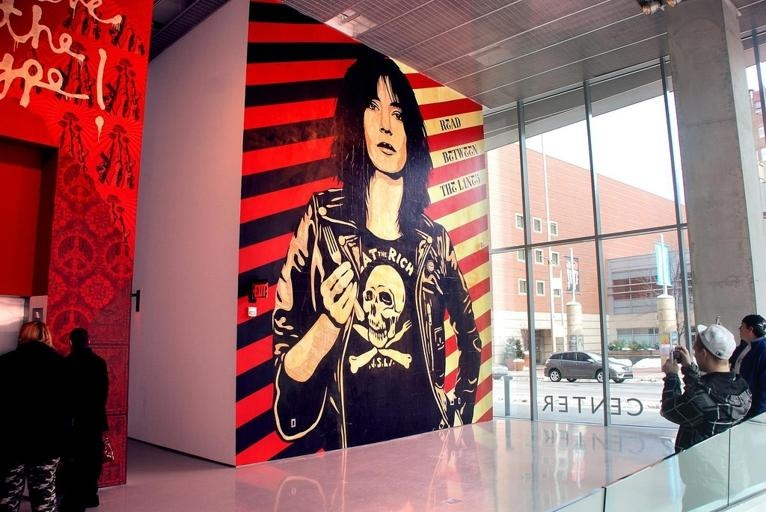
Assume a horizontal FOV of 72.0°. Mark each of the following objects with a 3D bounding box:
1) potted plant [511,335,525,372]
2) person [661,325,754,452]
[{"bbox_3d":[2.883,2.108,11.279,0.148,0.674,0.250,8,-16,-37],"label":"potted plant"},{"bbox_3d":[2.772,1.132,4.567,0.731,1.044,0.418,-6,-14,19],"label":"person"}]
